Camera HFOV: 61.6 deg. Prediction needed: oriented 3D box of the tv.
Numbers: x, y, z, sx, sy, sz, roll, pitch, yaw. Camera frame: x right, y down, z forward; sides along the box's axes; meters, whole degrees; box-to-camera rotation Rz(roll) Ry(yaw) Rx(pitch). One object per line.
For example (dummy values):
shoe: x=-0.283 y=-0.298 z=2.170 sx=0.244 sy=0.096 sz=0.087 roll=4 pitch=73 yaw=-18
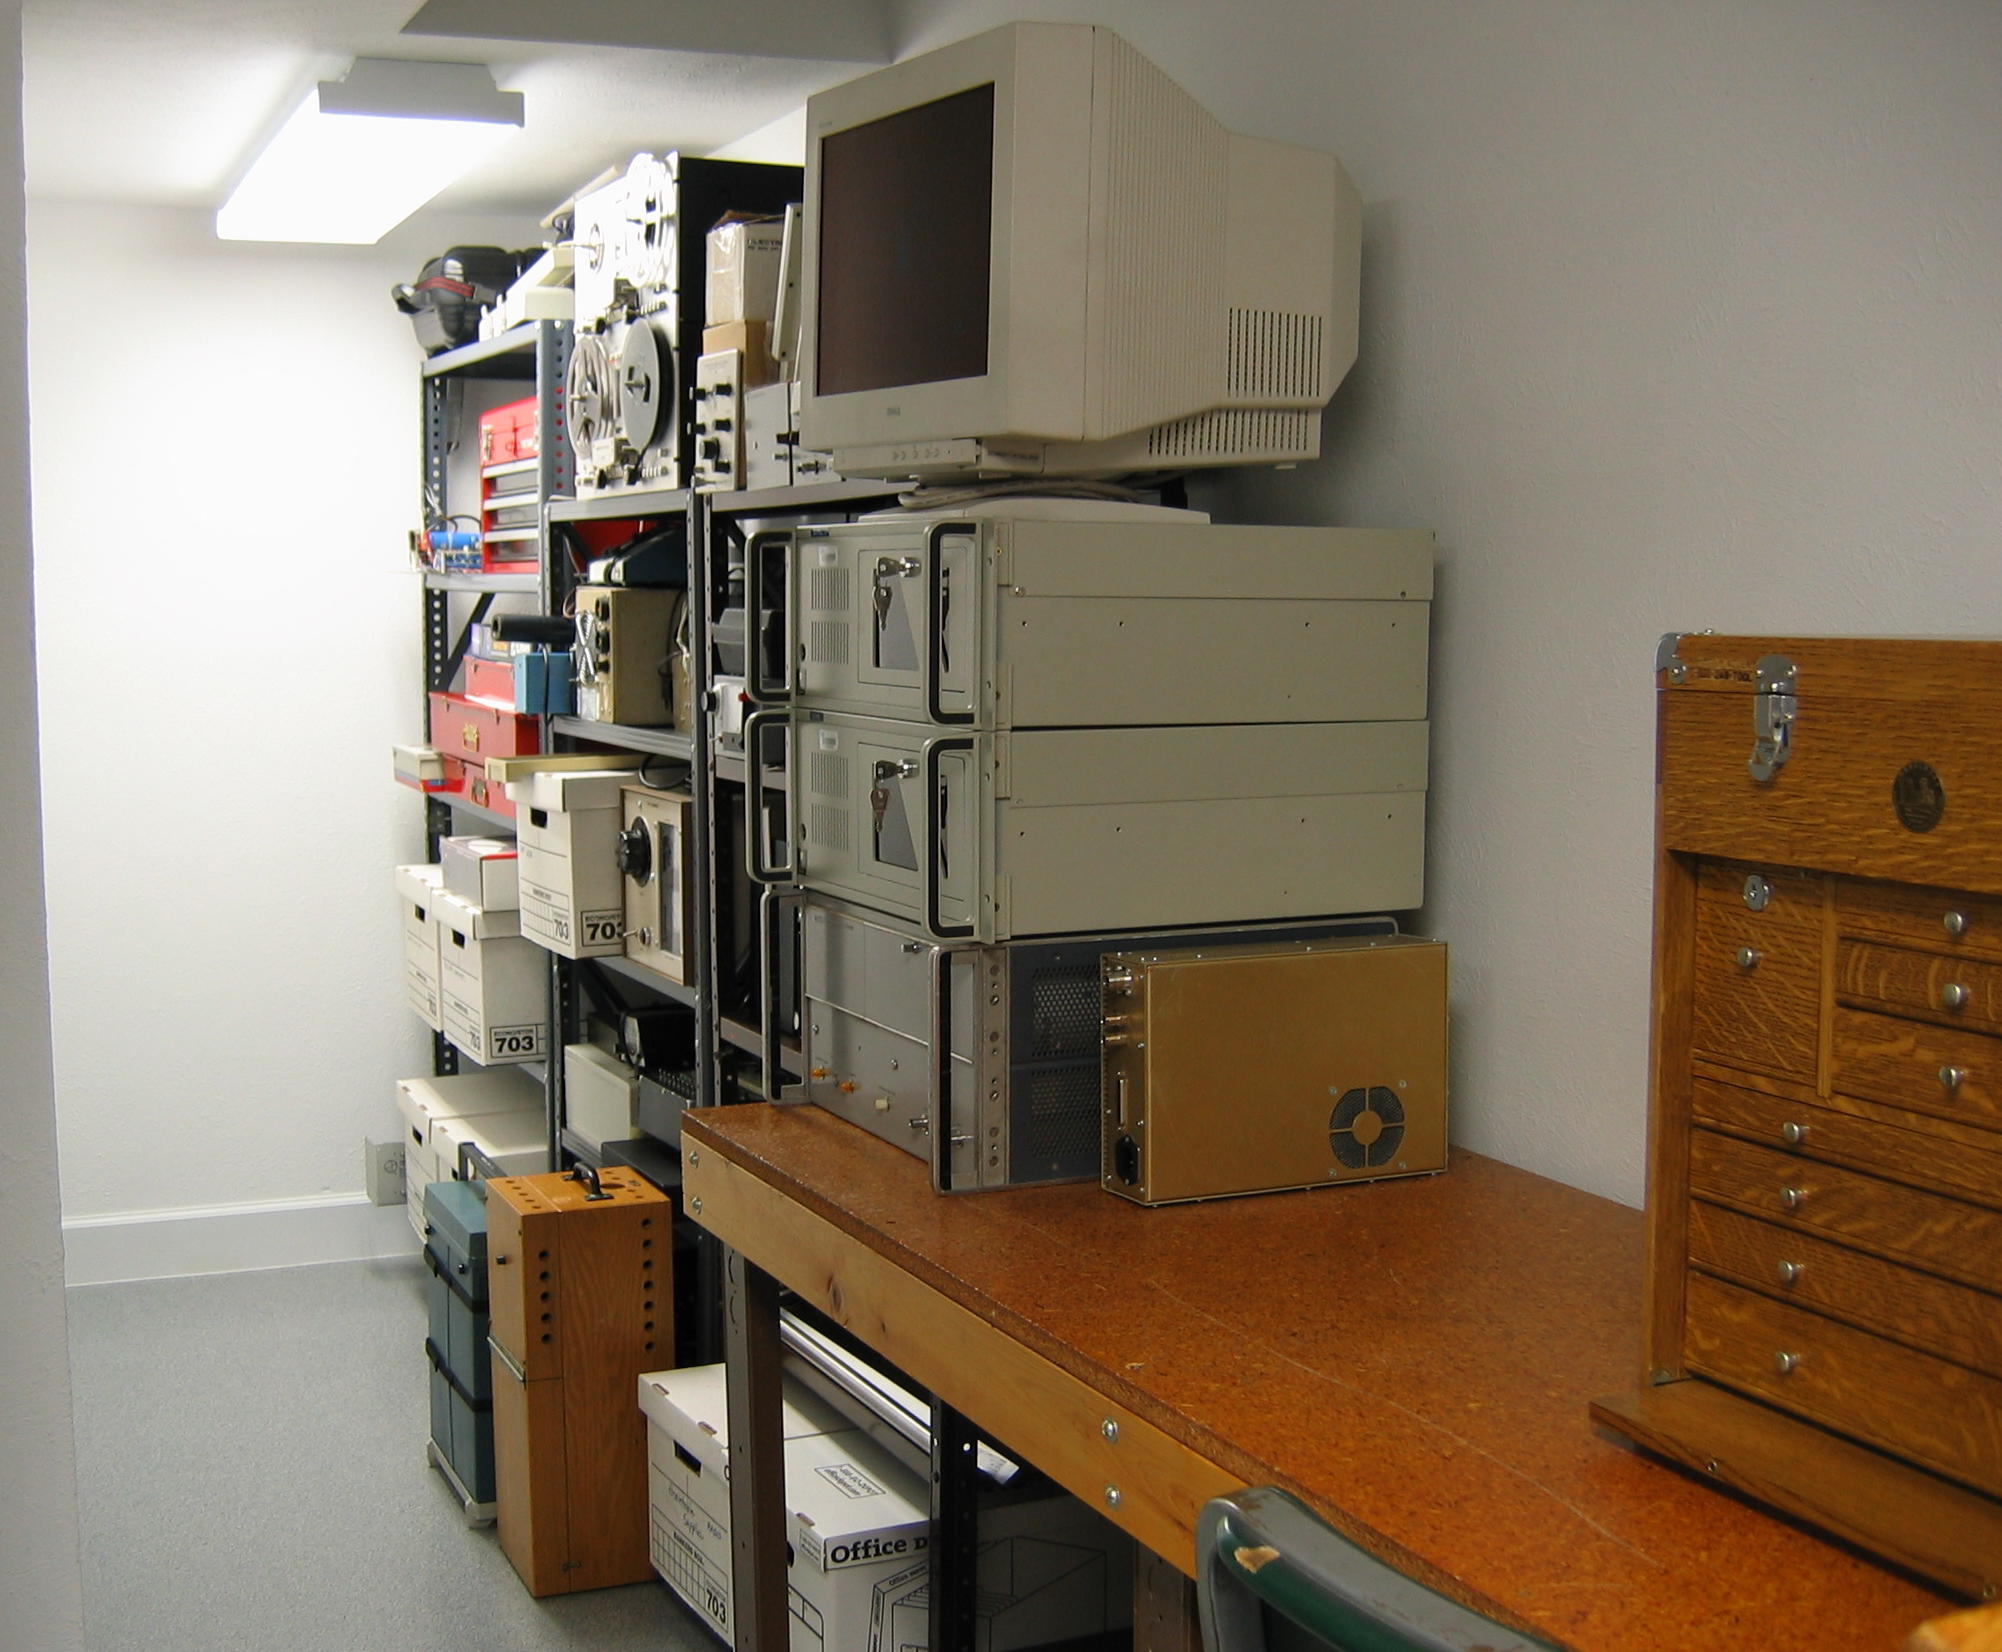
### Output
tv: x=0.127 y=-0.583 z=2.236 sx=0.555 sy=0.513 sz=0.615 roll=-4 pitch=6 yaw=-30

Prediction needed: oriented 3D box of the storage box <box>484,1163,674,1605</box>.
storage box: x=-0.796 y=1.044 z=3.203 sx=0.351 sy=0.740 sz=0.351 roll=-3 pitch=5 yaw=-20
